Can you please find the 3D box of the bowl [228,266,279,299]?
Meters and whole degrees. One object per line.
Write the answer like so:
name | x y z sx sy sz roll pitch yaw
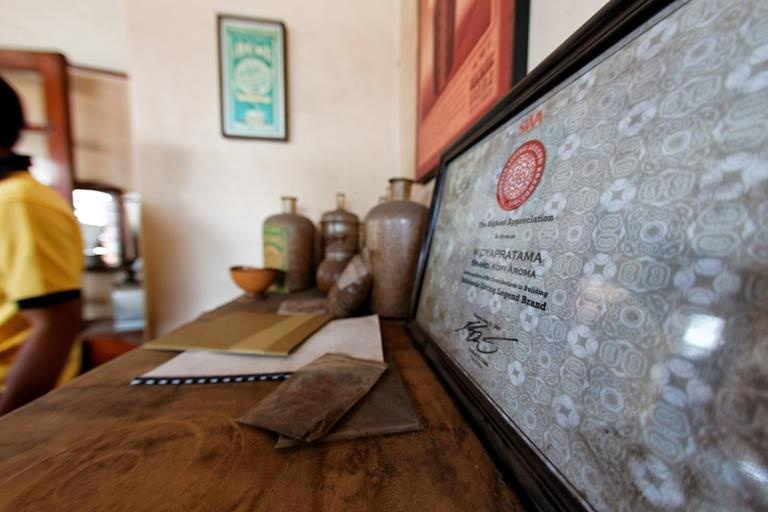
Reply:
bowl | -0.479 0.089 1.679 0.132 0.076 0.129 6 -4 0

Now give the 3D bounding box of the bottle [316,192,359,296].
bottle | -0.169 -0.063 1.752 0.168 0.354 0.461 2 6 -7

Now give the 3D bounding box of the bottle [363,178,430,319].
bottle | 0.048 -0.043 1.451 0.224 0.393 0.220 1 8 0
